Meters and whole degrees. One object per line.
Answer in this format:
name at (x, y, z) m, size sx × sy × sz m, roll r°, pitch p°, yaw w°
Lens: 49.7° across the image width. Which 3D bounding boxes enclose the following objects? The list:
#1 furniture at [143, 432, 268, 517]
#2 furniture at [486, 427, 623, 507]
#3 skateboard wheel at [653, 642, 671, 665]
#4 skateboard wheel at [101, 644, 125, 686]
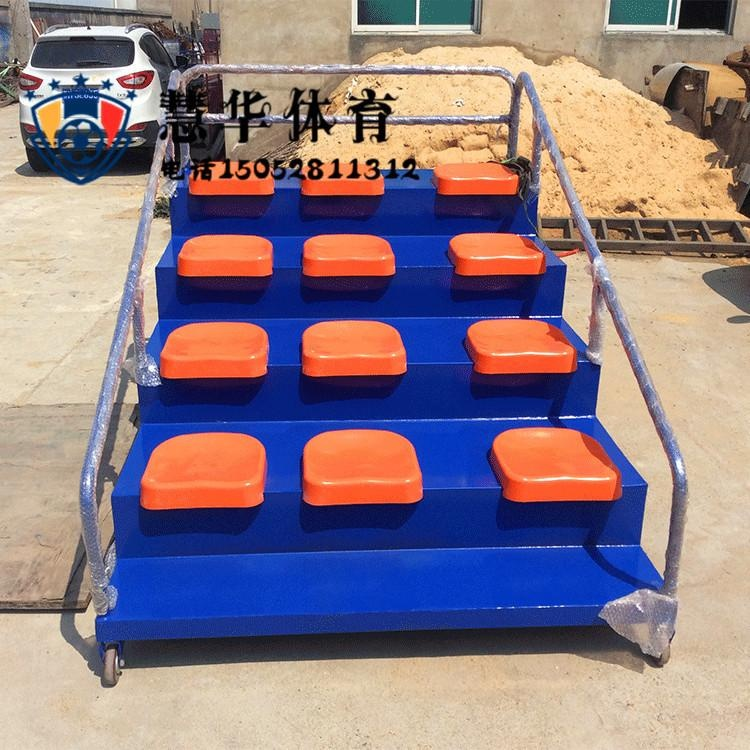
furniture at (-0.596, 0.344, 2.869) m, size 0.411 × 0.128 × 0.376 m, roll -2°, pitch 24°, yaw -5°
furniture at (0.647, 0.335, 2.953) m, size 0.431 × 0.140 × 0.370 m, roll -2°, pitch 24°, yaw -5°
skateboard wheel at (0.970, 0.936, 2.728) m, size 0.021 × 0.066 × 0.068 m, roll 38°, pitch 17°, yaw 1°
skateboard wheel at (-0.858, 0.943, 2.629) m, size 0.087 × 0.165 × 0.114 m, roll 2°, pitch 51°, yaw -8°
